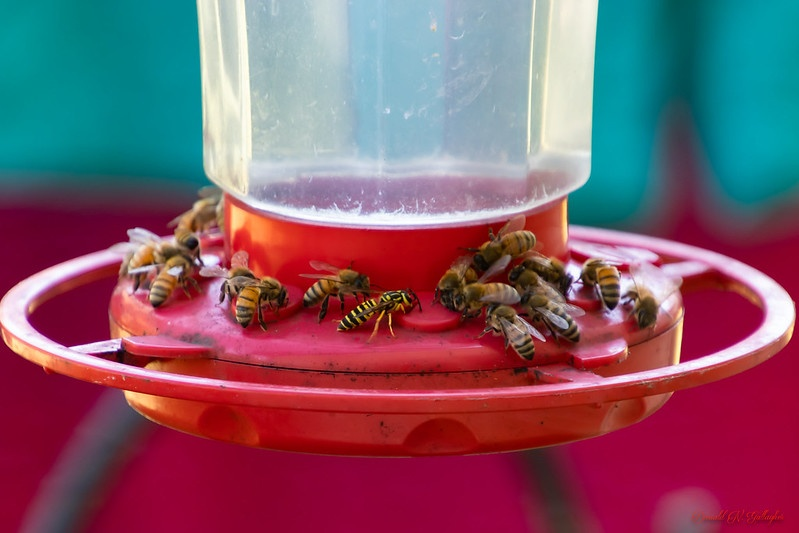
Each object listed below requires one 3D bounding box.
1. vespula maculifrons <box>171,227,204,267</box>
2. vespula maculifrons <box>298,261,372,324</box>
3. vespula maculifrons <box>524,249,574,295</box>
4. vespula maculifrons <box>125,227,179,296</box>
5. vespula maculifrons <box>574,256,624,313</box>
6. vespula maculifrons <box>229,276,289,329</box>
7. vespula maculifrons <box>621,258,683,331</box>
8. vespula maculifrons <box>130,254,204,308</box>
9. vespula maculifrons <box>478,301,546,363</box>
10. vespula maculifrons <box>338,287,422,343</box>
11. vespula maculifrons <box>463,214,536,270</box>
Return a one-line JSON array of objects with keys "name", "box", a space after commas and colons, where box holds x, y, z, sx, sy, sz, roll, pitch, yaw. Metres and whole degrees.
[{"name": "vespula maculifrons", "box": [-0.359, -0.039, 1.541, 0.037, 0.086, 0.042, -21, -13, -10]}, {"name": "vespula maculifrons", "box": [-0.106, 0.037, 1.373, 0.084, 0.036, 0.081, -11, 39, -5]}, {"name": "vespula maculifrons", "box": [0.232, 0.009, 1.451, 0.077, 0.024, 0.058, 37, 15, -33]}, {"name": "vespula maculifrons", "box": [-0.420, 0.006, 1.557, 0.091, 0.038, 0.113, -16, 37, -31]}, {"name": "vespula maculifrons", "box": [0.319, 0.028, 1.440, 0.049, 0.076, 0.086, -2, 5, -14]}, {"name": "vespula maculifrons", "box": [-0.205, 0.038, 1.370, 0.096, 0.038, 0.082, 0, 22, 3]}, {"name": "vespula maculifrons", "box": [0.390, 0.045, 1.440, 0.077, 0.094, 0.131, 2, 6, 24]}, {"name": "vespula maculifrons", "box": [-0.365, 0.017, 1.454, 0.102, 0.053, 0.139, -2, 24, 18]}, {"name": "vespula maculifrons", "box": [0.156, 0.085, 1.339, 0.109, 0.043, 0.081, 29, 26, 15]}, {"name": "vespula maculifrons", "box": [-0.032, 0.054, 1.337, 0.088, 0.033, 0.074, -21, 32, -15]}, {"name": "vespula maculifrons", "box": [0.158, -0.035, 1.393, 0.091, 0.073, 0.028, -32, -5, -6]}]
